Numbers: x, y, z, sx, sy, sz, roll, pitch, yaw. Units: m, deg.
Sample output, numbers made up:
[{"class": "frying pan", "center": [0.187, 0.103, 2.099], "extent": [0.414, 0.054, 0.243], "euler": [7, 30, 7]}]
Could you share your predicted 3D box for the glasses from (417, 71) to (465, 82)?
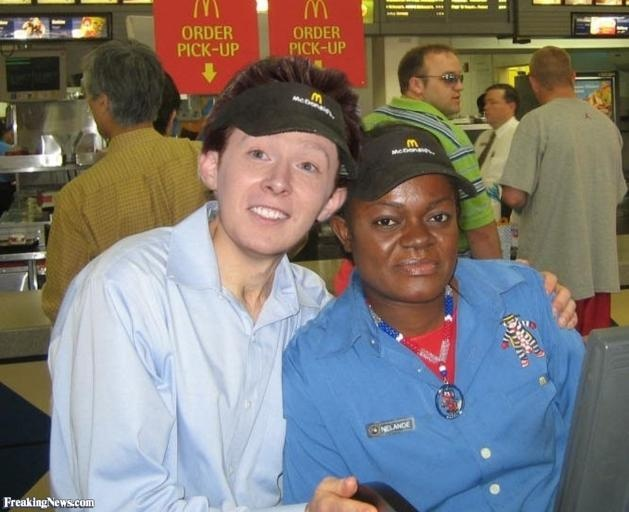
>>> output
[{"class": "glasses", "center": [0.641, -0.919, 3.040], "extent": [0.126, 0.038, 0.126], "euler": [4, 8, 38]}]
